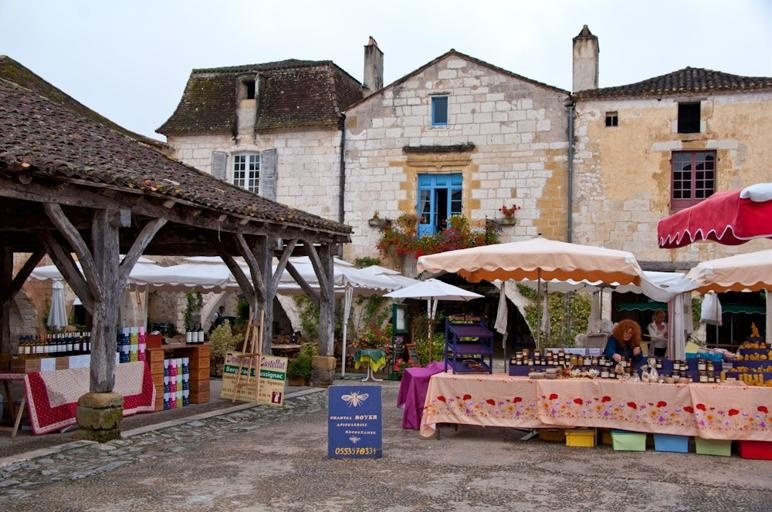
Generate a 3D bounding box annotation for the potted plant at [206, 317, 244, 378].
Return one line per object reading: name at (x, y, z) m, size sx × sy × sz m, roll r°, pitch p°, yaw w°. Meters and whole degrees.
potted plant at (-3.787, 2.222, 19.607) m, size 0.786 × 1.220 × 1.226 m, roll 0°, pitch 4°, yaw -11°

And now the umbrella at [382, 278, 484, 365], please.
umbrella at (1.139, 1.485, 18.678) m, size 2.110 × 1.582 × 2.026 m, roll 0°, pitch -2°, yaw -20°

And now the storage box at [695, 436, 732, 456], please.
storage box at (4.889, 2.875, 12.248) m, size 0.350 × 0.190 × 0.342 m, roll -1°, pitch -4°, yaw 25°

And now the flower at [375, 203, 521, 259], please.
flower at (1.576, -0.548, 23.677) m, size 2.830 × 0.846 × 1.927 m, roll -3°, pitch -2°, yaw 20°

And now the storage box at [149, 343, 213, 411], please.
storage box at (-3.860, 2.191, 15.110) m, size 0.676 × 1.172 × 1.478 m, roll 3°, pitch 5°, yaw 31°

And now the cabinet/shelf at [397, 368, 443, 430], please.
cabinet/shelf at (0.551, 2.460, 14.156) m, size 0.826 × 0.933 × 0.871 m, roll -1°, pitch -5°, yaw 21°

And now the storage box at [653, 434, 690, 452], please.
storage box at (4.306, 2.843, 12.375) m, size 0.348 × 0.186 × 0.335 m, roll 0°, pitch -3°, yaw 15°
